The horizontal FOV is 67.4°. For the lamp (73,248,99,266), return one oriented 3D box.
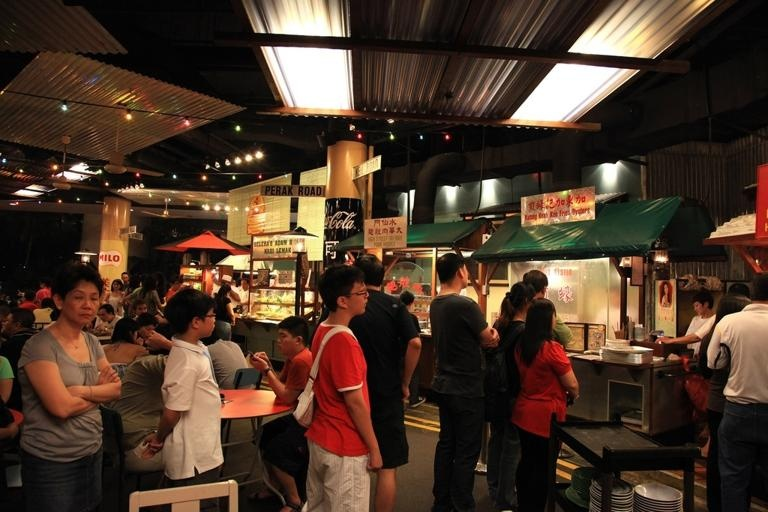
[{"bbox_3d":[-9.888,0.002,19.151,0.727,0.476,0.694,2,-1,-20],"label":"lamp"}]

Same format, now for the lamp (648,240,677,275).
[{"bbox_3d":[4.329,0.088,9.090,0.362,0.497,1.002,-3,-13,26],"label":"lamp"}]

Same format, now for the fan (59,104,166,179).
[{"bbox_3d":[-5.265,-2.354,11.384,1.750,1.365,1.231,-1,-4,31],"label":"fan"}]

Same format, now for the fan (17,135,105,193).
[{"bbox_3d":[-8.198,-2.006,14.393,1.818,0.898,2.375,-1,2,0],"label":"fan"}]

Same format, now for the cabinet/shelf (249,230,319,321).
[{"bbox_3d":[-2.172,0.460,12.377,2.094,2.370,0.846,1,1,40],"label":"cabinet/shelf"}]

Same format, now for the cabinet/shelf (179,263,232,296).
[{"bbox_3d":[-4.040,0.554,13.159,0.760,0.656,0.342,0,-9,-6],"label":"cabinet/shelf"}]

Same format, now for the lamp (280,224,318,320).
[{"bbox_3d":[-1.752,0.485,11.680,0.806,1.892,0.842,0,1,22],"label":"lamp"}]

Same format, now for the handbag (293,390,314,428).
[{"bbox_3d":[-0.661,1.261,4.734,0.152,0.287,0.127,5,-13,-7],"label":"handbag"}]
